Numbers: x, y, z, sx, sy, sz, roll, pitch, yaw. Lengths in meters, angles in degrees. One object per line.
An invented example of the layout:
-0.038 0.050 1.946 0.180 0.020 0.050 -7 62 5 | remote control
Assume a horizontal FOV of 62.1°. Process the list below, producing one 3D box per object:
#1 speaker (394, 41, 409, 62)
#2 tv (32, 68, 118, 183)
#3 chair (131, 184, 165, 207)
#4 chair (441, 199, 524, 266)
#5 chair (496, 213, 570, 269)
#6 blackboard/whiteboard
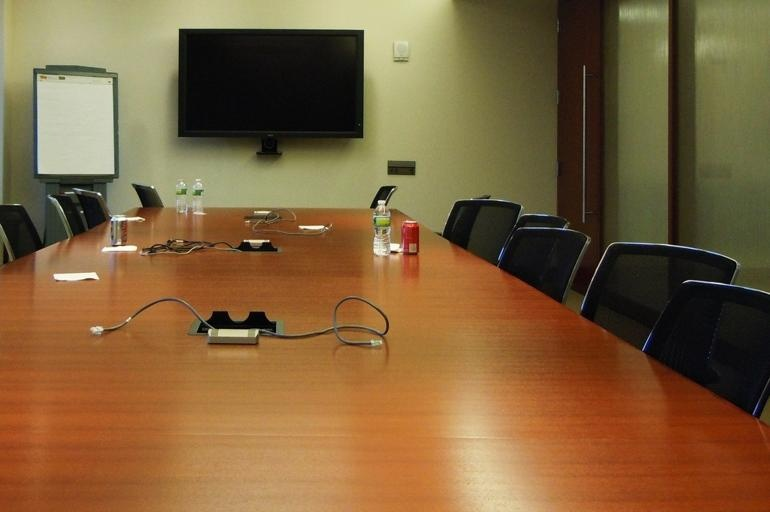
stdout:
0.184 -2.298 7.224 0.181 0.205 0.065 -1 1 -4 | speaker
-3.350 -1.404 6.800 1.203 1.610 0.175 0 0 -8 | tv
-2.244 -0.543 6.023 0.210 0.239 0.555 -5 18 -22 | chair
0.561 -0.124 3.584 0.270 0.396 0.274 18 1 -44 | chair
0.701 -0.060 2.997 0.198 0.337 0.211 8 -20 44 | chair
-3.346 -1.399 6.801 1.202 1.614 0.215 0 0 -7 | blackboard/whiteboard
